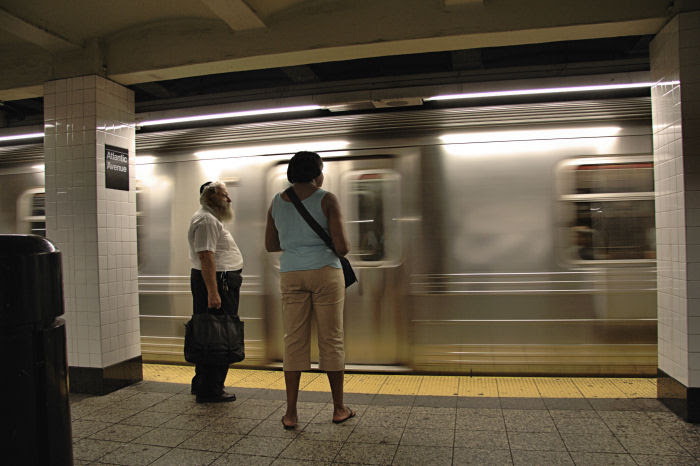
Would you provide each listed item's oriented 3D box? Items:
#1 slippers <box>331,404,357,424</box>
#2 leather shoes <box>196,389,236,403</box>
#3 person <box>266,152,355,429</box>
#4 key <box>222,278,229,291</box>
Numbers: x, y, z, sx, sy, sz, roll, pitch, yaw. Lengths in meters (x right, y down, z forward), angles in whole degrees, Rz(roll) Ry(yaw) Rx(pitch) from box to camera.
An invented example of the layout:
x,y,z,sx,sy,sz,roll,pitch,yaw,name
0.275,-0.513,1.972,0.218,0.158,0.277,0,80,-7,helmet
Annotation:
x,y,z,sx,sy,sz,roll,pitch,yaw,name
-0.051,1.733,5.139,0.122,0.150,0.244,1,7,31,slippers
-1.410,1.730,5.660,0.440,0.164,0.151,0,-3,-8,leather shoes
-0.379,0.526,5.064,0.713,2.581,0.582,-2,7,-8,person
-1.287,0.534,5.459,0.064,0.122,0.018,-4,8,-21,key
